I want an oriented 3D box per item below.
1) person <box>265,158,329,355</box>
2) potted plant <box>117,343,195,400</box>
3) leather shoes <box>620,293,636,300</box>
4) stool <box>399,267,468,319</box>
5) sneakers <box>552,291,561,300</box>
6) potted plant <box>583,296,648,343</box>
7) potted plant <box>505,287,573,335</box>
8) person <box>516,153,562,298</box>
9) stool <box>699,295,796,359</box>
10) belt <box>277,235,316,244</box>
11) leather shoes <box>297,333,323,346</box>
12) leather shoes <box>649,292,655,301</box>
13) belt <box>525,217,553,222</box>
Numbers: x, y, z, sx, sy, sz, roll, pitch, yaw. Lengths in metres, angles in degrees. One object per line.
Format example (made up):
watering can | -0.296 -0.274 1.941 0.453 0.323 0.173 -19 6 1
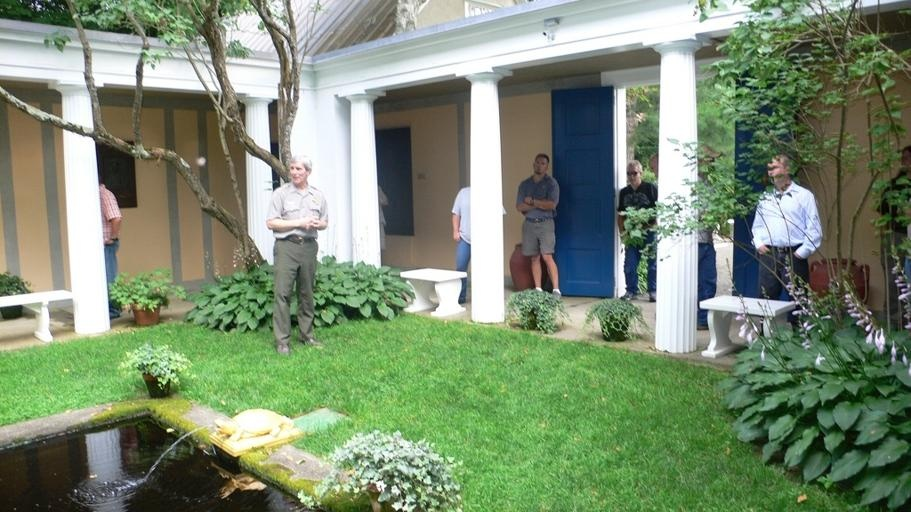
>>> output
person | -2.310 -0.009 9.551 0.832 2.498 0.670 -3 1 -15
potted plant | -3.847 1.448 8.528 0.878 0.608 0.781 1 -9 13
leather shoes | 3.270 0.750 12.190 0.358 0.151 0.131 7 -8 -41
stool | -0.631 0.720 12.252 0.750 0.653 1.092 0 -13 -2
sneakers | 1.831 0.667 11.708 0.112 0.137 0.325 -3 -10 18
potted plant | 2.466 0.945 10.071 0.759 0.448 0.749 0 -2 5
potted plant | 1.427 0.874 10.623 0.773 0.446 0.776 8 5 24
person | 1.556 -0.613 12.133 0.770 1.757 0.587 -2 2 20
stool | 3.903 0.943 8.615 0.582 0.639 1.040 -2 1 -44
belt | -2.307 -0.258 9.444 0.523 0.116 0.123 -3 2 -20
leather shoes | -2.229 1.267 9.898 0.404 0.154 0.146 1 5 2
leather shoes | 3.729 0.767 12.257 0.135 0.148 0.134 9 -13 -29
belt | 1.571 -0.701 12.150 0.467 0.066 0.108 -2 2 24
